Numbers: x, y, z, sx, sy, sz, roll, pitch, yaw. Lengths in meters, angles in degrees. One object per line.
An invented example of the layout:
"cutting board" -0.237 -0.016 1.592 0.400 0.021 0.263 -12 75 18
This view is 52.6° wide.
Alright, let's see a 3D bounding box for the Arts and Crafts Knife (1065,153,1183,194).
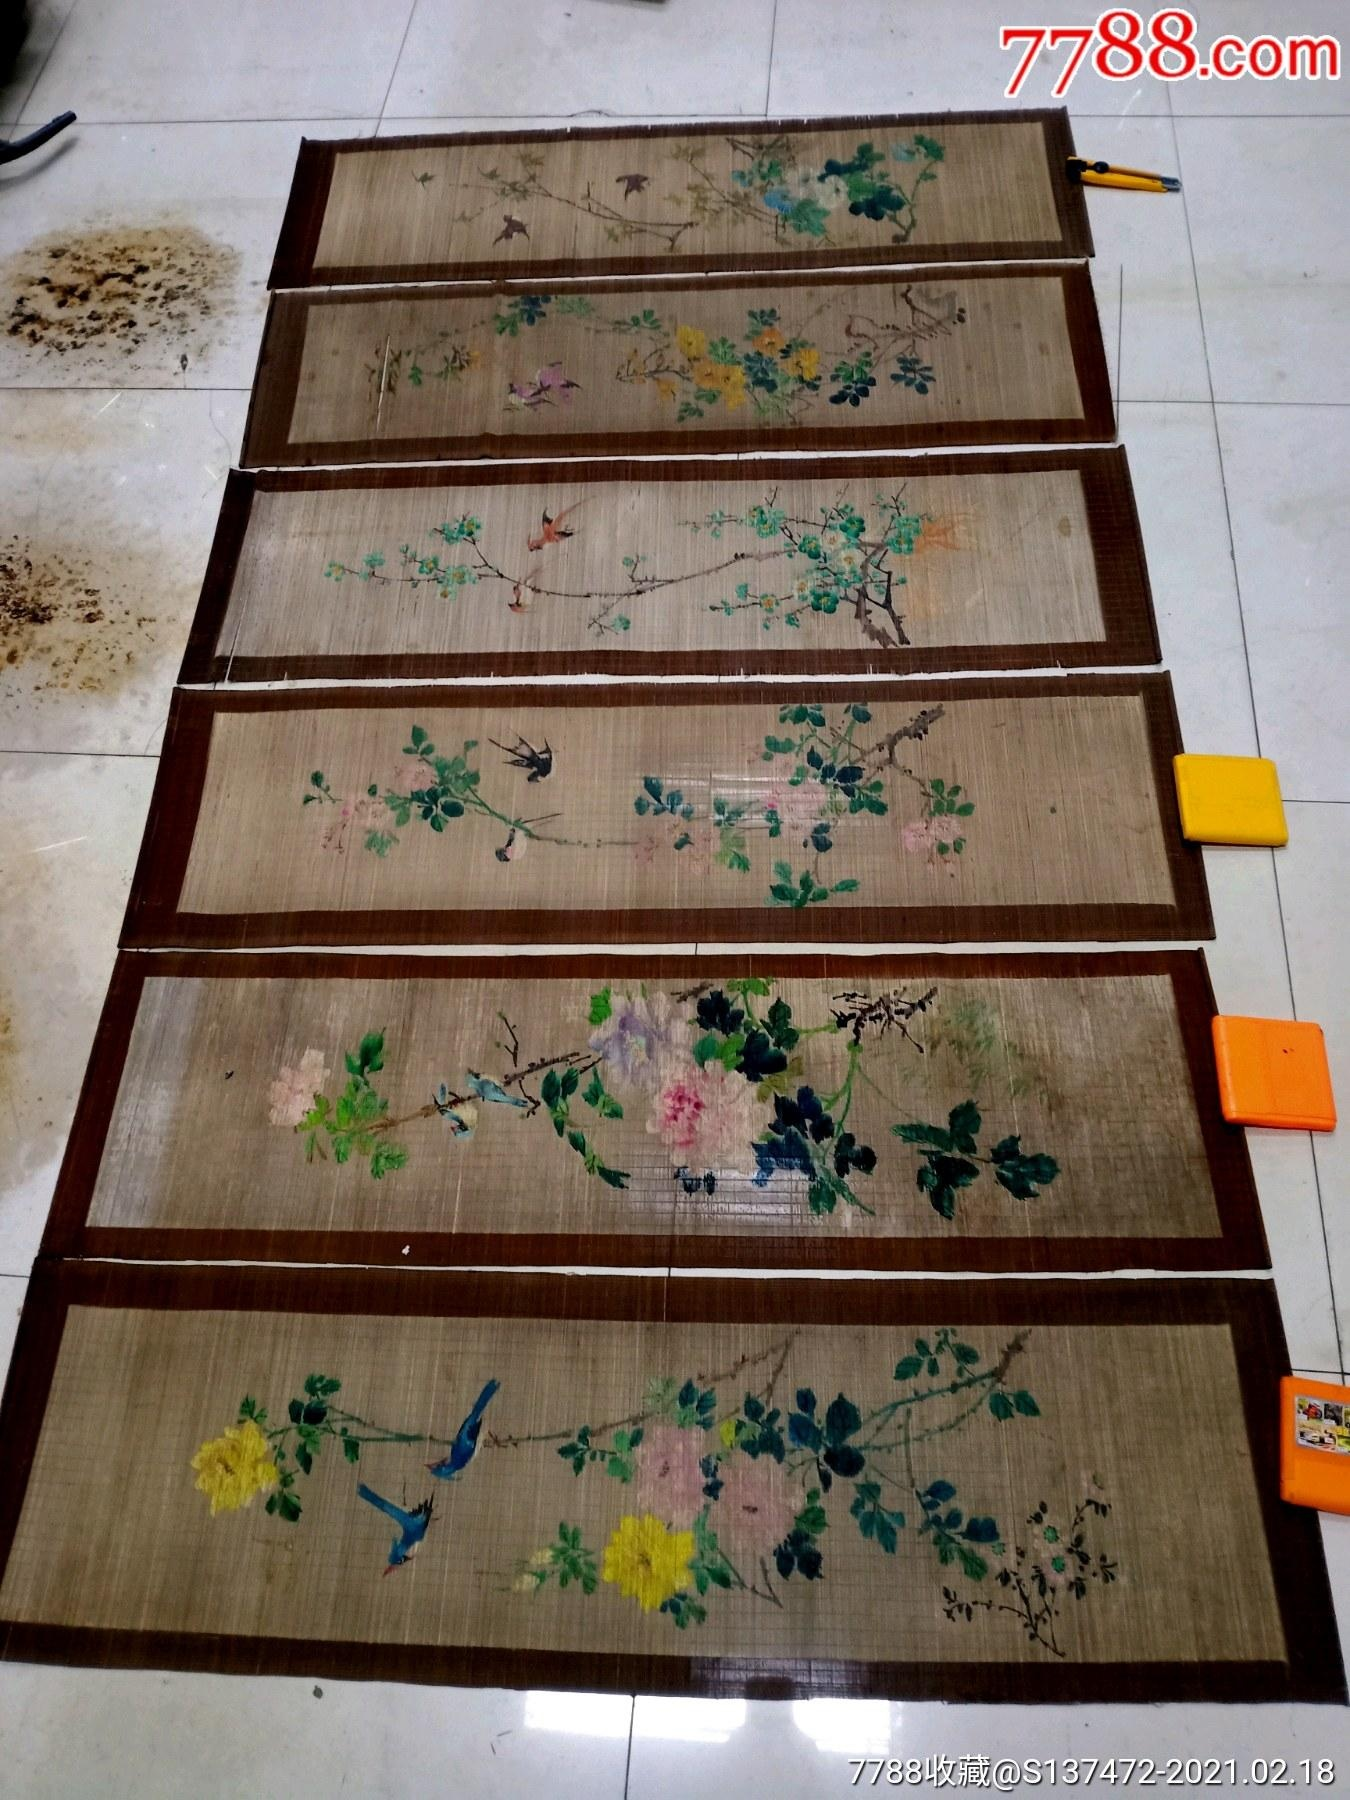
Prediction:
"Arts and Crafts Knife" 0.668 -1.049 1.986 0.168 0.049 0.055 8 94 -2
